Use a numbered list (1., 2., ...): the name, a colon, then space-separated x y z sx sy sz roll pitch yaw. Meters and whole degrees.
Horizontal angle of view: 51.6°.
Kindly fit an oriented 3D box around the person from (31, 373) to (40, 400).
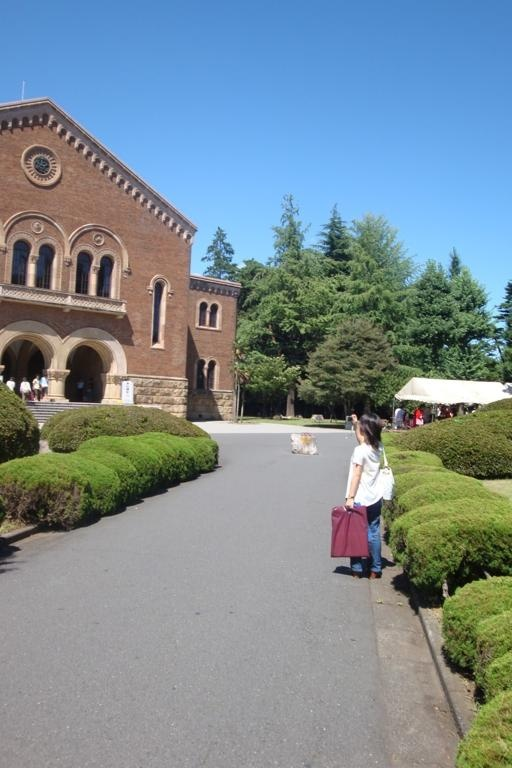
1. person: -13.549 0.285 32.769 0.442 1.557 2.104 2 -4 -22

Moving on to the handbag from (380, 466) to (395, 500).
1. handbag: 1.536 1.164 6.208 0.215 0.367 0.177 -6 -9 27

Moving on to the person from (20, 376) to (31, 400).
1. person: -13.882 0.313 32.071 0.505 1.458 2.372 3 -4 -23

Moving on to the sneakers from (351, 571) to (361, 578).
1. sneakers: 1.089 2.114 5.852 0.108 0.057 0.100 0 -4 26

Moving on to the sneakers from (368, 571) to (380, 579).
1. sneakers: 1.332 2.145 5.943 0.141 0.071 0.118 1 -4 3

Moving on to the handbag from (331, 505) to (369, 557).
1. handbag: 1.024 1.611 5.759 0.494 0.709 0.216 1 -15 5
